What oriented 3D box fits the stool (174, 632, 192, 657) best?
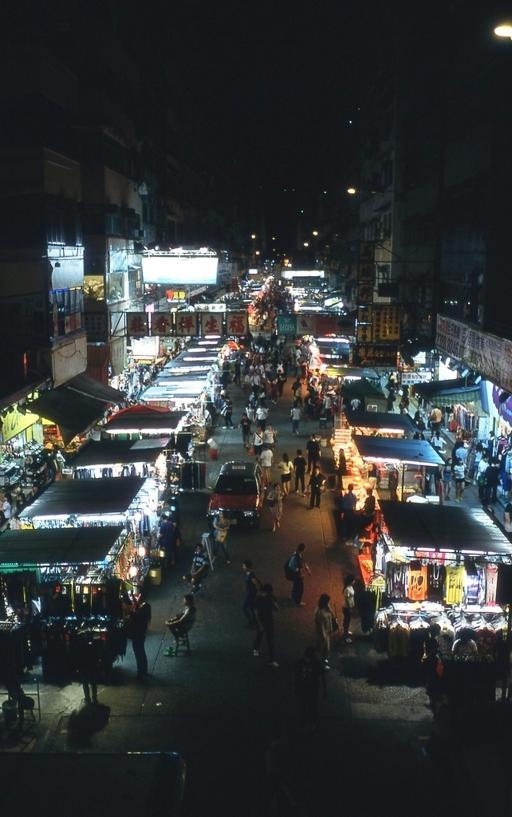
[{"bbox_3d":[-1.100,3.579,9.167,0.246,0.378,0.323,-1,10,1],"label":"stool"}]
